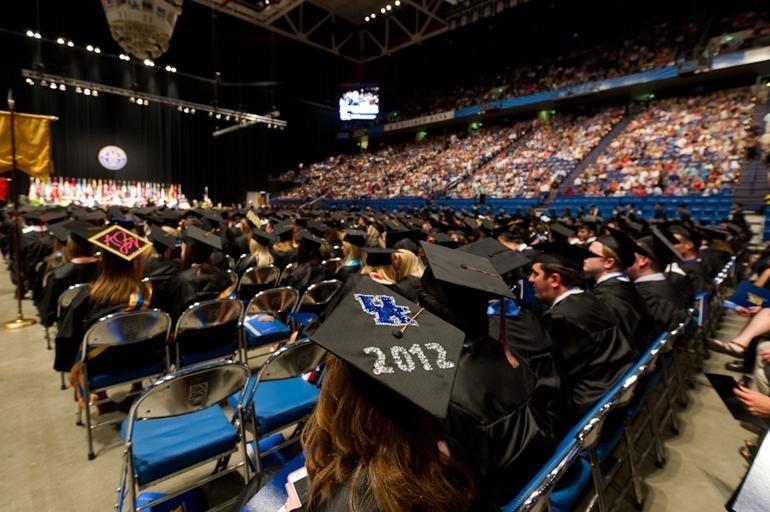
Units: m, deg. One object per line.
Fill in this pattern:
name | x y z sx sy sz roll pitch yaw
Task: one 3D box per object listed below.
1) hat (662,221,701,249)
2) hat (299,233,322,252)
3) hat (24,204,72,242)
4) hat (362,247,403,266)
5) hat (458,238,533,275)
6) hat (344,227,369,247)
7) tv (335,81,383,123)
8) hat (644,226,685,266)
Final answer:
hat | 5.872 -0.453 10.554 0.682 0.181 0.747 12 27 35
hat | -1.426 -0.297 10.048 0.330 0.127 0.482 20 10 2
hat | -7.884 -0.747 12.246 0.991 0.270 0.955 -3 26 -22
hat | -0.121 0.017 9.370 0.386 0.182 0.392 6 9 40
hat | 1.826 -0.029 8.523 0.688 0.248 0.942 -12 36 -36
hat | -0.612 -0.400 11.070 0.433 0.142 0.429 -2 20 -30
tv | -1.831 -10.779 36.486 3.865 3.406 0.916 2 6 4
hat | 4.947 -0.198 9.198 0.214 0.614 0.871 -41 -2 37
